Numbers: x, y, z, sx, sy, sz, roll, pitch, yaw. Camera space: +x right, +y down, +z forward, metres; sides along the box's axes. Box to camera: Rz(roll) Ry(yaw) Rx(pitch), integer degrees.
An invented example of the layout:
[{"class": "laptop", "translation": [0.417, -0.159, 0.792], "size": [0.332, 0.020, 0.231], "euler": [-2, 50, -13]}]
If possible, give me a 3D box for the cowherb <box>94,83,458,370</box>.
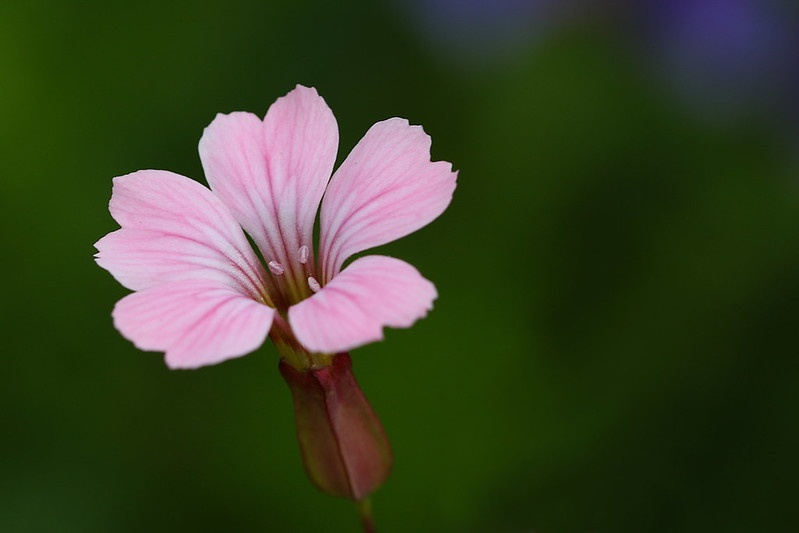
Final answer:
[{"class": "cowherb", "translation": [-0.158, -0.052, 1.096], "size": [0.425, 0.225, 0.437], "euler": [34, 68, 8]}]
